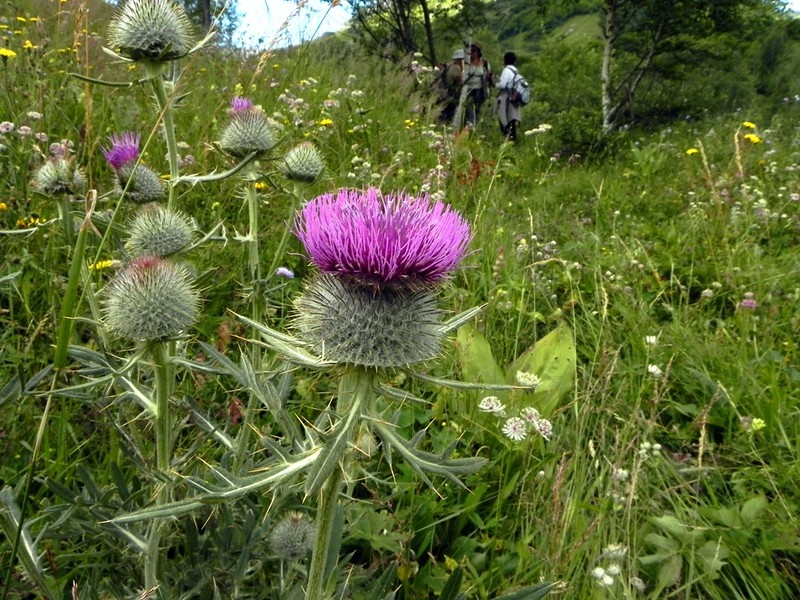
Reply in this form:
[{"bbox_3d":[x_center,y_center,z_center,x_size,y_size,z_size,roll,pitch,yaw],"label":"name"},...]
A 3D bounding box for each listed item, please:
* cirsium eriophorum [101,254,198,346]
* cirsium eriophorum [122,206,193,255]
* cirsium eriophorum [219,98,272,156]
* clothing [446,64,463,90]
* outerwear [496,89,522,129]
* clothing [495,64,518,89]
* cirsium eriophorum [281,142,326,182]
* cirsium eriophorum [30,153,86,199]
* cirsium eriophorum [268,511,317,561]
[{"bbox_3d":[-1.327,0.010,3.602,0.433,0.407,0.450,-1,3,-27],"label":"cirsium eriophorum"},{"bbox_3d":[-1.415,-0.403,3.970,0.351,0.294,0.355,-6,26,-24],"label":"cirsium eriophorum"},{"bbox_3d":[-1.009,-1.101,4.431,0.334,0.282,0.657,1,25,-11],"label":"cirsium eriophorum"},{"bbox_3d":[1.193,-4.965,14.972,0.360,0.522,0.800,6,24,1],"label":"clothing"},{"bbox_3d":[2.492,-4.395,15.555,0.564,1.064,0.806,1,43,7],"label":"outerwear"},{"bbox_3d":[2.491,-5.196,15.786,0.498,0.503,1.000,8,25,6],"label":"clothing"},{"bbox_3d":[-0.669,-0.938,4.632,0.242,0.292,0.265,3,-1,-1],"label":"cirsium eriophorum"},{"bbox_3d":[-2.010,-0.706,3.989,0.265,0.270,0.289,1,0,2],"label":"cirsium eriophorum"},{"bbox_3d":[-0.616,1.354,3.843,0.259,0.221,0.219,1,24,-11],"label":"cirsium eriophorum"}]
